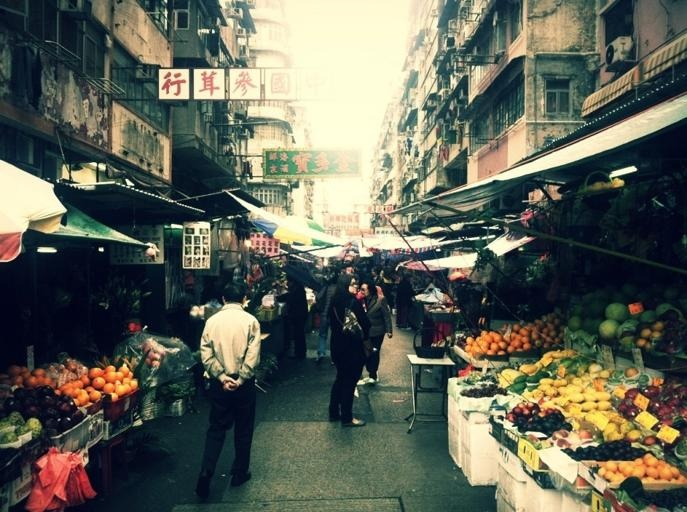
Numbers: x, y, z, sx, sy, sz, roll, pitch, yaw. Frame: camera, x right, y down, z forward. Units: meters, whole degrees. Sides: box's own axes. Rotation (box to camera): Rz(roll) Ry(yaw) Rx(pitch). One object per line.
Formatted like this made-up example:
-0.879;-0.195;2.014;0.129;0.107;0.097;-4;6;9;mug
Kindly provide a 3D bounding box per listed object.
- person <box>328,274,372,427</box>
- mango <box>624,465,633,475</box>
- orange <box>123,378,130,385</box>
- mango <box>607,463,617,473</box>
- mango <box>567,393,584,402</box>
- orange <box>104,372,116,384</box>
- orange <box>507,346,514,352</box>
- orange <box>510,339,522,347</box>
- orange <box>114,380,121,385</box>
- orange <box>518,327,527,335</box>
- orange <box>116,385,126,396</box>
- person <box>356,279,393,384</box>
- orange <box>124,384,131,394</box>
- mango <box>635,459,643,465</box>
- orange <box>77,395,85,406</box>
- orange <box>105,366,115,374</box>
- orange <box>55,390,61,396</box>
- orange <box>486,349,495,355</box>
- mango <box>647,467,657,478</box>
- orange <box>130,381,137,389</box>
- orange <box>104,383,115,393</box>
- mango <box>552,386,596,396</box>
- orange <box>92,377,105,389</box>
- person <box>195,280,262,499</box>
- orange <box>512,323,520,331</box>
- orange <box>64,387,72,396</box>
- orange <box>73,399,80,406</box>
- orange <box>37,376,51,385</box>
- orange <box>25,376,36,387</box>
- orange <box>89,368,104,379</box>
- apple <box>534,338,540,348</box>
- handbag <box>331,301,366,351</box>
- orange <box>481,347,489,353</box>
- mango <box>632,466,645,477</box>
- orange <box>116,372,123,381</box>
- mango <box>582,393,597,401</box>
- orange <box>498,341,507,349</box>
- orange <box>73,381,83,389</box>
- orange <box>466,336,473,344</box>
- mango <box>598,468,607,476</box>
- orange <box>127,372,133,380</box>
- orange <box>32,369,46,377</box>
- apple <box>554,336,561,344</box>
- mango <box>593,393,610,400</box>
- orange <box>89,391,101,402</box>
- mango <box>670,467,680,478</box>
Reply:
0.058;1.555;12.498;0.694;2.238;0.662;2;7;-10;person
3.309;2.477;8.854;0.078;0.105;0.082;17;-8;-14;mango
-3.090;1.770;10.826;0.066;0.077;0.075;-10;-33;1;orange
3.129;2.458;8.896;0.078;0.107;0.085;-6;-2;-2;mango
3.147;1.900;10.280;0.143;0.093;0.100;-9;-7;25;mango
-3.253;1.681;10.636;0.118;0.167;0.125;6;2;29;orange
2.698;1.501;12.314;0.078;0.104;0.077;-5;15;-42;orange
2.804;1.400;12.359;0.124;0.122;0.112;-1;3;-3;orange
-3.171;1.769;10.720;0.061;0.077;0.122;0;10;-6;orange
2.937;1.228;12.450;0.089;0.089;0.157;-4;11;-25;orange
-3.109;1.858;10.664;0.114;0.165;0.132;7;3;-4;orange
0.577;1.436;14.440;0.634;1.942;0.657;1;6;-5;person
-3.041;1.863;10.736;0.072;0.077;0.086;12;27;-40;orange
3.460;2.394;8.888;0.105;0.030;0.089;-1;10;-11;mango
-3.497;1.924;10.181;0.108;0.150;0.113;-1;-14;18;orange
-3.292;1.587;10.738;0.133;0.101;0.201;-2;10;-16;orange
-3.811;1.819;10.159;0.062;0.055;0.067;-1;-10;-14;orange
2.387;1.542;12.302;0.087;0.115;0.091;2;6;-3;orange
3.560;2.488;8.779;0.099;0.093;0.062;15;45;8;mango
-3.001;1.832;10.893;0.092;0.103;0.091;2;2;-36;orange
-3.250;1.825;10.553;0.154;0.130;0.107;-3;10;-21;orange
3.168;1.840;10.468;0.170;0.090;0.300;-7;1;-34;mango
-3.381;1.746;10.516;0.136;0.159;0.142;-4;-9;8;orange
-1.601;1.825;10.570;0.736;2.734;1.194;3;9;16;person
2.858;1.176;12.620;0.088;0.120;0.096;5;-17;0;orange
-3.689;1.809;10.193;0.074;0.079;0.094;22;26;-26;orange
-3.539;1.931;10.096;0.080;0.087;0.086;1;-5;27;orange
-4.024;1.669;10.282;0.096;0.108;0.104;0;-7;7;orange
-4.180;1.675;10.190;0.105;0.144;0.112;17;-14;0;orange
-3.448;1.626;10.653;0.213;0.124;0.217;-5;11;-32;orange
3.121;1.396;12.268;0.078;0.108;0.085;-2;-23;21;apple
0.075;1.125;12.354;0.403;0.736;0.447;3;7;-26;handbag
2.295;1.518;12.375;0.102;0.068;0.091;2;-2;3;orange
3.417;2.482;8.777;0.086;0.068;0.112;-9;1;7;mango
-3.169;1.695;10.765;0.098;0.094;0.135;-3;10;-19;orange
3.323;1.884;10.267;0.121;0.078;0.130;-7;-1;17;mango
2.578;1.428;12.356;0.089;0.105;0.116;-5;20;-14;orange
-3.623;1.764;10.399;0.102;0.092;0.181;0;10;-5;orange
2.120;1.403;12.819;0.082;0.116;0.089;-1;4;4;orange
3.019;2.505;8.878;0.089;0.062;0.076;4;10;17;mango
-3.071;1.710;10.932;0.070;0.082;0.078;-5;-26;1;orange
-4.144;1.585;10.354;0.105;0.084;0.136;0;1;-23;orange
3.400;1.330;12.093;0.072;0.084;0.094;-3;25;1;apple
3.469;1.867;10.194;0.133;0.086;0.102;-4;-8;20;mango
-3.375;1.891;10.324;0.126;0.173;0.136;-4;19;-8;orange
3.821;2.479;8.784;0.081;0.114;0.088;6;-5;5;mango
